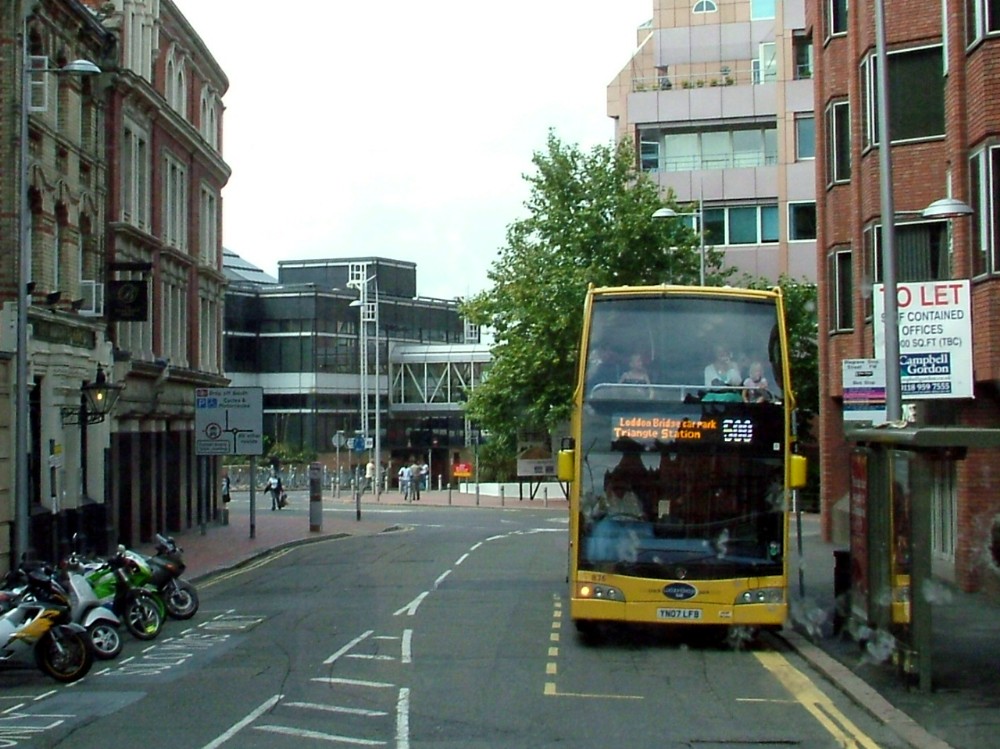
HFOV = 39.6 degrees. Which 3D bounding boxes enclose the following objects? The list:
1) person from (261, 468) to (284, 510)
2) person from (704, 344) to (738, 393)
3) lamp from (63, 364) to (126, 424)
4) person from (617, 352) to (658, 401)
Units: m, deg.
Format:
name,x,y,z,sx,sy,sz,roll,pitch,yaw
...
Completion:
name,x,y,z,sx,sy,sz,roll,pitch,yaw
person,-10.750,5.460,65.299,1.175,2.519,0.803,-4,-15,2
person,3.563,-0.102,22.247,0.528,0.922,0.518,1,-11,-4
lamp,-9.415,0.430,31.946,1.383,1.486,0.987,-1,-4,2
person,2.204,0.063,22.451,0.600,1.037,0.541,1,-14,0
